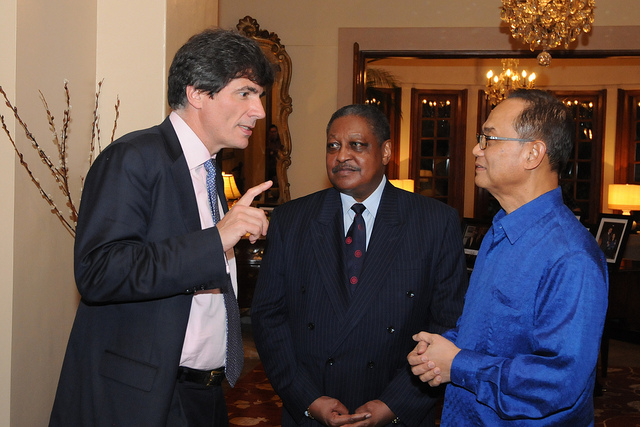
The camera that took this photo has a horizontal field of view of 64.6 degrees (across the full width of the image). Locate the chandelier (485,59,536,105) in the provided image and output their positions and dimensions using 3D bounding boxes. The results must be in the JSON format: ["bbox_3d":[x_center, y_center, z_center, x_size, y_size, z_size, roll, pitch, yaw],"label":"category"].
[{"bbox_3d":[3.277,-2.397,8.782,0.738,1.080,0.777,5,6,23],"label":"chandelier"}]

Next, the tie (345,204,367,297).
[{"bbox_3d":[0.168,0.176,2.383,0.072,0.423,0.047,3,-22,3],"label":"tie"}]

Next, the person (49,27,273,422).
[{"bbox_3d":[-0.613,0.086,2.042,0.881,1.678,0.508,-2,5,-6],"label":"person"}]
